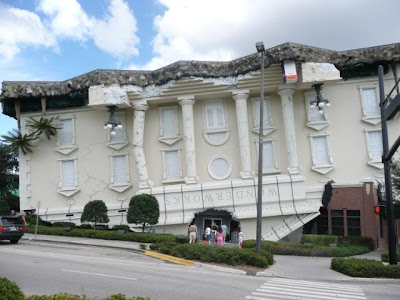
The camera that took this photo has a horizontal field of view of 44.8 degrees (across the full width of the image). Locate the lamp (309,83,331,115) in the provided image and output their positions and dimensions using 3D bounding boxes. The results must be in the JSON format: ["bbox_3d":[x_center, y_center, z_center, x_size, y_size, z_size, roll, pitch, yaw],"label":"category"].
[{"bbox_3d":[10.756,-4.645,43.574,1.619,2.703,1.629,-8,-4,34],"label":"lamp"}]

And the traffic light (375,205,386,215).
[{"bbox_3d":[11.362,3.724,30.351,0.700,0.566,0.494,-6,-7,37],"label":"traffic light"}]
